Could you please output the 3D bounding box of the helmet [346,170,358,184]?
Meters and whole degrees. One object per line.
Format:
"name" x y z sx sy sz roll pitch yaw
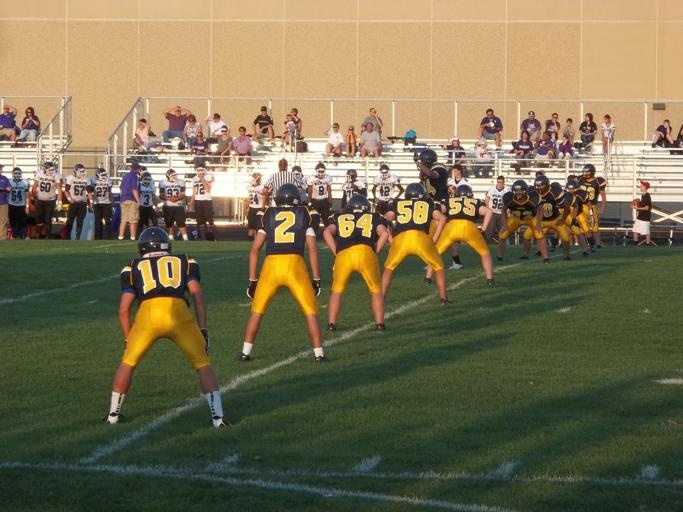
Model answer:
"helmet" 0.249 -2.033 35.482 0.307 0.322 0.243 4 11 10

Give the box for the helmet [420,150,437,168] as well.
"helmet" 1.903 -2.204 30.609 0.390 0.405 0.302 12 41 10

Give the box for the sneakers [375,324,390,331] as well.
"sneakers" 0.762 1.369 27.202 0.183 0.193 0.119 0 6 9

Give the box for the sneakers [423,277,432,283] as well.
"sneakers" 1.902 0.525 31.171 0.121 0.145 0.311 0 -1 -4

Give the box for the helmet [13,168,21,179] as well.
"helmet" -8.451 -2.145 36.542 0.213 0.281 0.304 -2 0 -19

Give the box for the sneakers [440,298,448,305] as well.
"sneakers" 2.103 0.931 28.982 0.108 0.139 0.322 -1 -5 9

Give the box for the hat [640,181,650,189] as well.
"hat" 8.048 -1.895 37.209 0.309 0.076 0.288 8 14 13

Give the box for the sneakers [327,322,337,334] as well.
"sneakers" -0.193 1.381 27.140 0.174 0.220 0.506 0 -4 -1

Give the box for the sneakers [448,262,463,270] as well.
"sneakers" 2.690 0.225 32.859 0.130 0.167 0.365 -3 5 26

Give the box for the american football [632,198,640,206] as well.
"american football" 7.839 -1.458 37.432 0.213 0.163 0.215 0 -2 -11

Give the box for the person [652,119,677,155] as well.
"person" 10.745 -4.085 46.971 0.790 1.162 1.196 3 -1 12

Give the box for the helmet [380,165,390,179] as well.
"helmet" 1.132 -2.230 37.076 0.207 0.384 0.557 0 5 2

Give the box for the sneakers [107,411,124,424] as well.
"sneakers" -3.828 2.712 23.692 0.153 0.173 0.259 10 -20 -23

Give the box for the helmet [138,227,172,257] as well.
"helmet" -3.175 -0.270 23.909 0.416 0.447 0.538 -3 16 3

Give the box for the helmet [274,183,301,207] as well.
"helmet" -0.999 -1.097 25.571 0.336 0.442 0.416 2 -1 5

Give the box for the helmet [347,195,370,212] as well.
"helmet" 0.317 -1.080 26.952 0.285 0.314 0.387 5 35 -4

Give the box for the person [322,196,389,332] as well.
"person" 0.268 0.133 26.860 1.186 2.589 0.365 0 4 -3

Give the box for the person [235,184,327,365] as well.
"person" -1.061 0.286 25.741 1.527 3.209 0.992 0 5 0
